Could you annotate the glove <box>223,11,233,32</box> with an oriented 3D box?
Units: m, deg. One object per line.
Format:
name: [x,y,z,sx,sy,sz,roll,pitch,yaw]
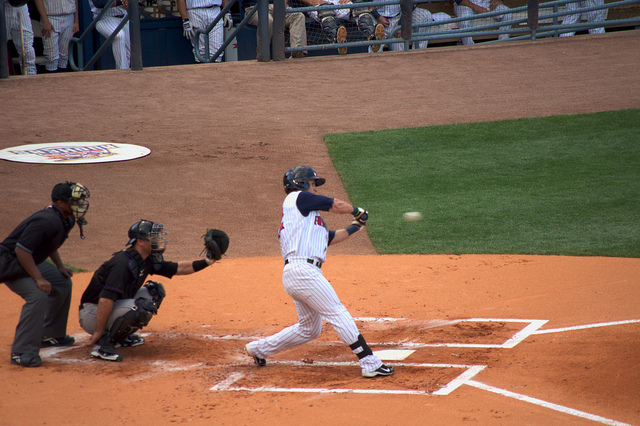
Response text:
glove: [-2.217,-4.689,22.448,0.139,0.345,0.341,3,46,25]

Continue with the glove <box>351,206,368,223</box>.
glove: [0.475,0.007,11.775,0.176,0.230,0.337,-1,10,3]

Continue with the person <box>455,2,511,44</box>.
person: [4.078,-4.867,23.511,1.399,1.061,2.293,0,9,8]

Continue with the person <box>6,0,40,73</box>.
person: [-6.432,-3.815,20.037,0.517,1.503,1.282,-6,12,-17]

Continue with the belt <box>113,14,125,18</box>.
belt: [-4.620,-4.554,21.313,0.349,0.063,0.069,0,-15,-9]

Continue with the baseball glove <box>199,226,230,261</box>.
baseball glove: [-1.456,0.395,12.153,0.460,0.351,0.390,-9,-7,26]

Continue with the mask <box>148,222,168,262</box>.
mask: [-2.094,0.331,11.943,0.219,0.401,0.122,-4,12,-7]

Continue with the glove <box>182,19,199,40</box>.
glove: [-3.087,-4.399,21.936,0.159,0.360,0.302,-39,47,-26]

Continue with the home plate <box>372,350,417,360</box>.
home plate: [0.946,1.834,12.003,0.540,0.057,0.241,-1,9,4]

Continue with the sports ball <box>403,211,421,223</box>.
sports ball: [1.424,0.055,14.519,0.281,0.099,0.239,0,2,2]

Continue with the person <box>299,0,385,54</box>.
person: [0.584,-4.456,22.018,2.017,1.277,0.777,-8,13,-32]

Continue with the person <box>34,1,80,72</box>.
person: [-5.925,-4.024,21.025,0.791,1.582,1.359,-1,11,4]

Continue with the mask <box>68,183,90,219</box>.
mask: [-3.115,-0.148,11.971,0.274,0.472,0.211,-7,13,-24]

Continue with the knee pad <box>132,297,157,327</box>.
knee pad: [-2.262,1.279,12.002,0.404,0.309,0.177,21,62,32]

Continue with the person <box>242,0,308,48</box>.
person: [-1.055,-4.468,21.704,1.487,1.163,1.056,-2,11,-3]
